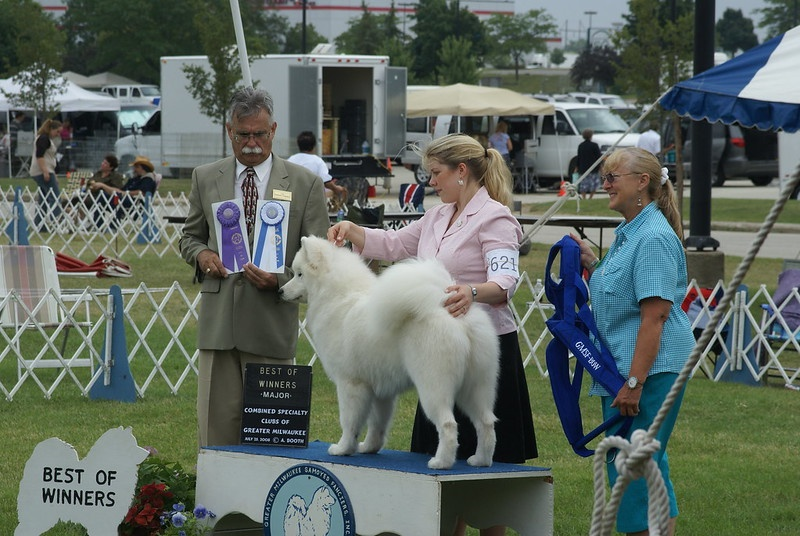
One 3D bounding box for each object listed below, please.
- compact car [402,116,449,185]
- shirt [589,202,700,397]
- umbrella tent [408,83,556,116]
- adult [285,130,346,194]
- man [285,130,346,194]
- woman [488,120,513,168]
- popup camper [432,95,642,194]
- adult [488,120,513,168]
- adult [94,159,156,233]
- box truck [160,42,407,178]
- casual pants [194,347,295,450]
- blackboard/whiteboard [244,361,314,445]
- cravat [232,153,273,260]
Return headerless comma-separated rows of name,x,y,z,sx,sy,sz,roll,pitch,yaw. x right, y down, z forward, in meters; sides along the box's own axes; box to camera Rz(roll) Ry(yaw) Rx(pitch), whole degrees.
compact car,0.734,-3.581,42.989,2.349,1.753,1.971,-4,8,-5
shirt,3.556,0.346,19.718,1.119,2.363,1.724,-8,6,5
umbrella tent,2.167,-4.425,37.145,1.771,0.544,1.875,-1,2,-42
adult,-1.777,-2.105,28.462,1.282,1.355,0.798,-1,2,11
man,-1.811,-2.104,28.444,1.288,1.351,0.783,0,4,10
woman,2.657,-3.141,36.427,0.540,1.891,0.542,-6,38,6
popup camper,3.408,-2.779,40.113,4.729,2.852,3.055,1,-24,-2
adult,2.661,-2.889,36.189,0.501,1.818,0.502,-7,-10,10
adult,-6.125,-1.704,31.714,1.252,1.532,1.904,2,9,-11
box truck,-3.189,-4.488,37.774,5.140,3.493,3.610,2,3,31
casual pants,-2.107,1.817,19.501,1.109,1.569,0.137,1,-5,-5
blackboard/whiteboard,-1.707,1.859,19.369,0.930,1.279,0.095,2,23,-12
cravat,-2.035,-0.994,19.470,0.486,1.143,0.242,1,-5,-1
